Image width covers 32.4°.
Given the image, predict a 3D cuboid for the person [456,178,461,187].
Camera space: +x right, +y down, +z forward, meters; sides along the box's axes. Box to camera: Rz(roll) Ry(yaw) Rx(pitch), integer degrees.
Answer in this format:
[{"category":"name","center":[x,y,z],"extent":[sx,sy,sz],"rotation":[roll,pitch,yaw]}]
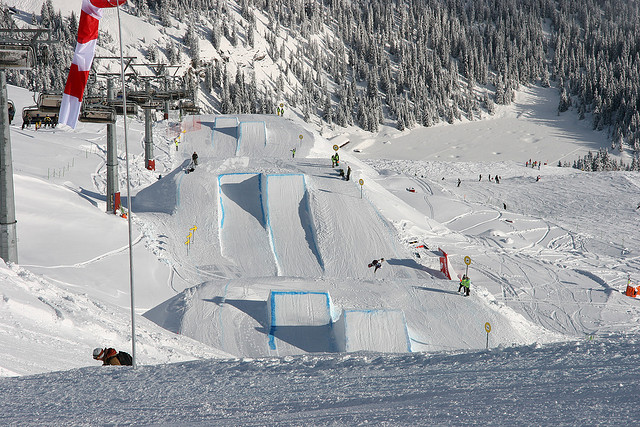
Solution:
[{"category":"person","center":[26.689,-6.035,211.239],"extent":[0.946,1.633,0.407],"rotation":[-19,-30,22]}]

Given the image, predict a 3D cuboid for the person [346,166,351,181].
[{"category":"person","center":[4.830,-6.665,186.756],"extent":[0.493,2.481,0.638],"rotation":[4,1,-12]}]

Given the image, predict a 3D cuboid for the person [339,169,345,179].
[{"category":"person","center":[3.727,-6.673,187.720],"extent":[0.799,1.425,1.841],"rotation":[-2,14,-33]}]
